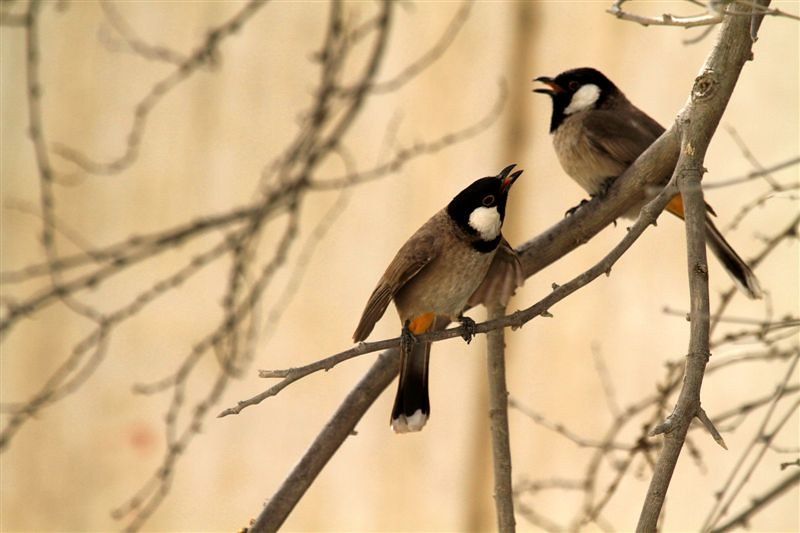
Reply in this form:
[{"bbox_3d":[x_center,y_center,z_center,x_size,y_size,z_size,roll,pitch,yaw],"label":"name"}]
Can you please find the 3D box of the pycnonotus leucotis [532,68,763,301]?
[{"bbox_3d":[1.039,-0.401,4.061,1.121,0.385,0.659,19,-95,11],"label":"pycnonotus leucotis"}]
